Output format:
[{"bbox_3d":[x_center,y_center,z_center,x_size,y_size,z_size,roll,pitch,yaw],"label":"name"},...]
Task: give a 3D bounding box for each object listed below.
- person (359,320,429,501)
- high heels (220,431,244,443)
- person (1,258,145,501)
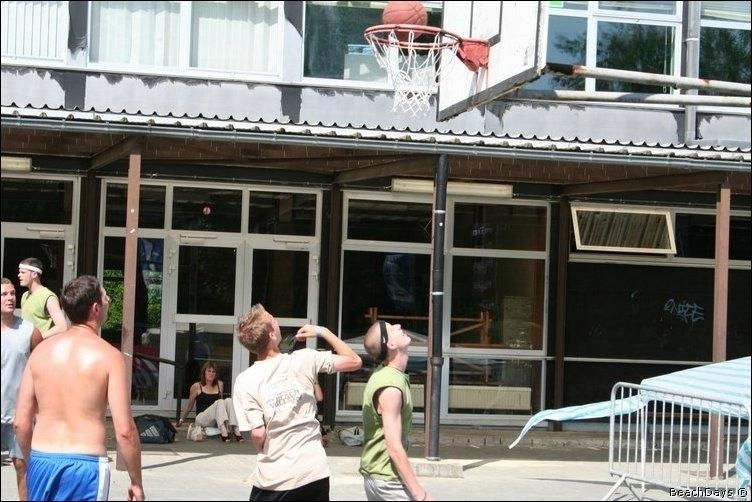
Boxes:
[{"bbox_3d":[0.172,1.780,15.658,0.579,2.004,0.454,2,-5,-20],"label":"person"},{"bbox_3d":[-2.093,2.719,20.412,0.129,0.139,0.374,6,-8,-37],"label":"high heels"},{"bbox_3d":[-3.325,1.508,15.553,1.400,2.489,0.477,1,-4,-7],"label":"person"}]
